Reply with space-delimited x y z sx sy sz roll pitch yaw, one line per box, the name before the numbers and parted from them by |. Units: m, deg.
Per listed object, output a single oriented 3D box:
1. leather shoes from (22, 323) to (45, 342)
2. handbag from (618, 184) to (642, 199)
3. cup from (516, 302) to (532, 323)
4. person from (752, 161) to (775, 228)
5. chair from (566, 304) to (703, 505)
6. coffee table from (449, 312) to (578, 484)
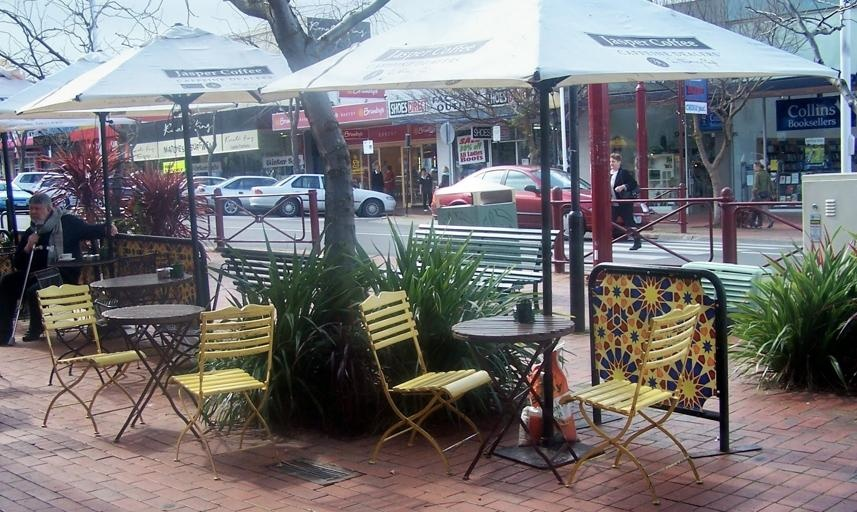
leather shoes | -6.326 1.230 12.637 0.245 0.250 0.378 0 1 -41
handbag | 4.939 -1.539 19.488 0.526 0.404 0.203 3 -11 -29
cup | 0.987 0.583 8.186 0.195 0.222 0.194 -1 8 0
person | 11.363 -2.039 26.968 0.807 2.241 0.724 2 5 26
chair | 2.100 1.385 7.900 1.146 1.748 1.438 0 6 33
coffee table | 0.869 1.381 8.592 1.510 1.683 1.473 1 7 30
